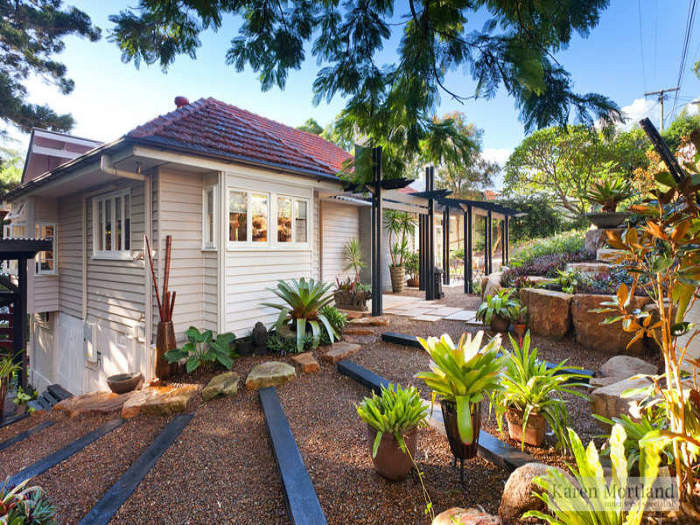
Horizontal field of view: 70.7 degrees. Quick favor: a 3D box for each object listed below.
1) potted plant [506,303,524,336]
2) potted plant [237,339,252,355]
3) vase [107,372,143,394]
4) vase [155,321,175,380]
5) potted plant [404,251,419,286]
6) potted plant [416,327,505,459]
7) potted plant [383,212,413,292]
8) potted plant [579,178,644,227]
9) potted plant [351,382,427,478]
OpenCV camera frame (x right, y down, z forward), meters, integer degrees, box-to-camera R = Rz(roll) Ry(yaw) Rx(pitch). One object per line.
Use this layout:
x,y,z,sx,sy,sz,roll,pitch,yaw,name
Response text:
2.623,0.906,7.815,0.318,0.506,0.374,-2,0,34,potted plant
-1.744,1.349,7.874,0.198,0.175,0.203,2,-5,-37,potted plant
-3.398,1.787,7.239,0.480,0.293,0.501,-3,0,-15,vase
-2.769,1.293,7.233,0.278,0.909,0.318,-2,0,-20,vase
1.927,0.235,14.946,0.469,1.181,0.633,3,1,-18,potted plant
1.066,1.281,5.108,0.885,1.174,0.992,3,-11,-26,potted plant
1.298,-0.322,13.906,0.944,2.623,1.256,-2,-3,10,potted plant
4.529,-1.015,8.546,0.769,0.826,0.829,0,-1,9,potted plant
0.327,1.717,5.108,0.700,0.944,0.784,0,-4,-4,potted plant
